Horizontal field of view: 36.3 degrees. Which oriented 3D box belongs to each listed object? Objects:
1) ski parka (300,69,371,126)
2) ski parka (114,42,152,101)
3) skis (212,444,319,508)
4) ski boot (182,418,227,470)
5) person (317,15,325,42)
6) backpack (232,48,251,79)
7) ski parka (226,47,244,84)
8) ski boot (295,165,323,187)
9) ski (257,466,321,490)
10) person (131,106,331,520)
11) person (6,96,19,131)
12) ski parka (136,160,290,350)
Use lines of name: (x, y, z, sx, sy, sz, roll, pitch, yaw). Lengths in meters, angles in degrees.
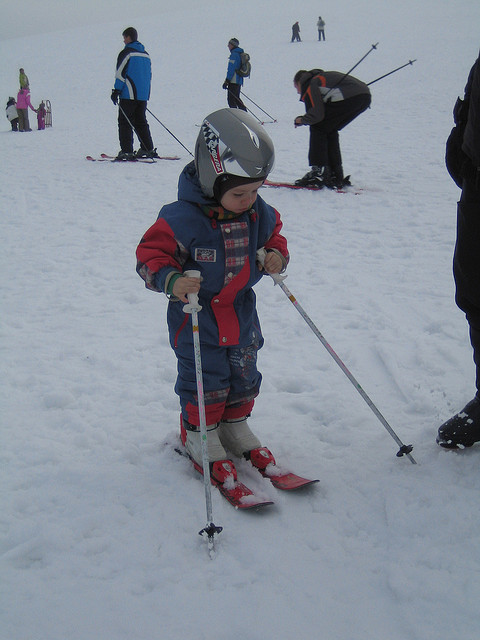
ski parka: (0.707, -1.844, 5.947, 0.608, 0.384, 0.433, 17, 56, 24)
ski parka: (-1.121, -2.598, 7.653, 0.291, 0.574, 0.525, 17, 26, 30)
skis: (0.009, 0.538, 2.711, 0.279, 0.063, 0.518, -14, 18, -25)
ski boot: (-0.140, 0.455, 2.740, 0.092, 0.221, 0.258, -16, 27, -34)
person: (2.813, -10.029, 25.390, 0.227, 0.745, 0.612, -6, 24, 6)
backpack: (0.076, -3.896, 11.215, 0.436, 0.356, 0.298, -2, 26, -6)
ski parka: (-0.064, -3.891, 11.297, 0.274, 0.532, 0.355, -6, 24, 4)
ski boot: (0.646, -1.260, 6.527, 0.310, 0.178, 0.091, 8, 34, 13)
ski: (0.165, 0.574, 2.649, 0.084, 0.023, 0.158, -2, 4, -27)
person: (-0.071, -0.034, 2.539, 0.516, 1.307, 0.738, -7, 25, 4)
person: (-3.852, -3.502, 12.522, 0.212, 0.523, 0.843, -15, 23, -13)
ski parka: (-0.079, -0.204, 2.651, 0.612, 0.715, 0.245, -24, 29, -33)
